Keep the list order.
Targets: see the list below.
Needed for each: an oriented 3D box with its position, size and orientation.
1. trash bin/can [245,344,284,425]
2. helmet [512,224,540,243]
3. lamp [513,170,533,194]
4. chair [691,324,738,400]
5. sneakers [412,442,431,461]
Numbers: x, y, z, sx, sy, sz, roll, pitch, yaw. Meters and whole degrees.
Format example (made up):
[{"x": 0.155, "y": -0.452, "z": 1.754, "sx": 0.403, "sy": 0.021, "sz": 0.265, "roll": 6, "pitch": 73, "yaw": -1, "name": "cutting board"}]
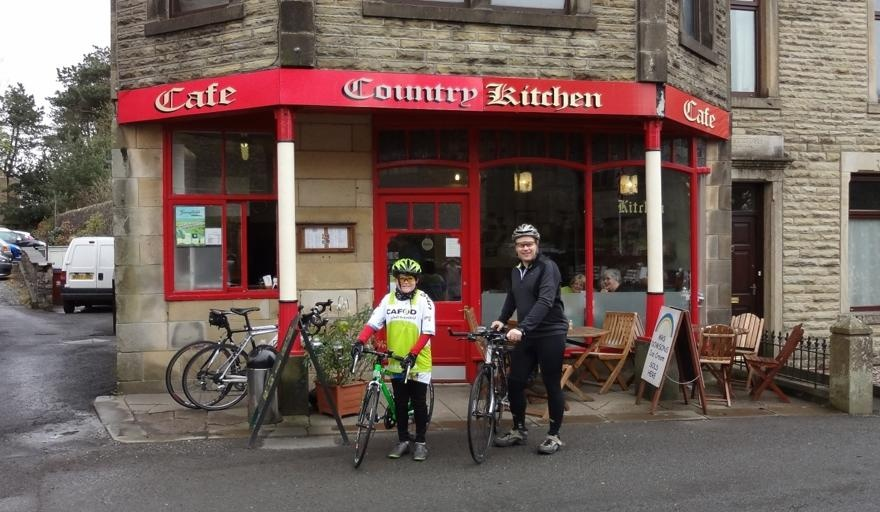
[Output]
[{"x": -3.286, "y": 2.385, "z": 15.419, "sx": 0.605, "sy": 1.515, "sz": 1.005, "roll": 1, "pitch": 0, "yaw": -13, "name": "trash bin/can"}, {"x": 1.546, "y": -0.429, "z": 14.770, "sx": 0.353, "sy": 0.190, "sz": 0.507, "roll": 1, "pitch": 0, "yaw": 13, "name": "helmet"}, {"x": 1.762, "y": -1.628, "z": 17.916, "sx": 0.522, "sy": 0.482, "sz": 0.275, "roll": 0, "pitch": -2, "yaw": -12, "name": "lamp"}, {"x": 5.525, "y": 2.119, "z": 16.629, "sx": 0.707, "sy": 1.460, "sz": 1.024, "roll": 1, "pitch": 0, "yaw": 18, "name": "chair"}, {"x": -0.341, "y": 3.350, "z": 14.287, "sx": 0.241, "sy": 0.241, "sz": 0.615, "roll": -1, "pitch": -7, "yaw": 2, "name": "sneakers"}]
